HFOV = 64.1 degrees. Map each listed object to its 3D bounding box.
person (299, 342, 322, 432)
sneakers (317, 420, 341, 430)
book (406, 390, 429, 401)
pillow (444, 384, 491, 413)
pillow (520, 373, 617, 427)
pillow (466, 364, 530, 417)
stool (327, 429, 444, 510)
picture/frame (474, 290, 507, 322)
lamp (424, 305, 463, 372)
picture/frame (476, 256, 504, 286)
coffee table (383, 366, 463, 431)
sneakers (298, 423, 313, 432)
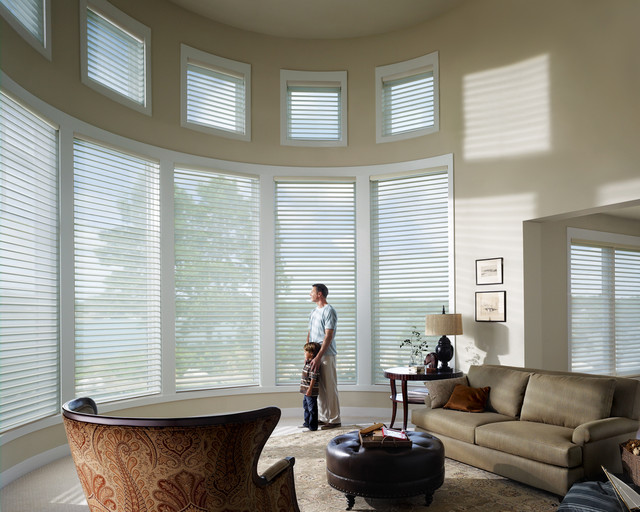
[{"bbox_3d":[-0.108,1.498,5.922,0.227,0.987,0.342,-1,-4,-5],"label":"person"},{"bbox_3d":[0.107,1.962,5.943,0.259,0.106,0.088,6,-10,-16],"label":"sneakers"},{"bbox_3d":[1.163,1.616,5.910,0.265,0.065,0.264,-2,-4,42],"label":"book"},{"bbox_3d":[1.454,1.406,5.023,0.267,0.084,0.277,-2,25,32],"label":"pillow"},{"bbox_3d":[2.165,1.294,4.564,0.275,0.475,0.749,23,-20,-32],"label":"pillow"},{"bbox_3d":[1.771,1.297,4.990,0.129,0.419,0.411,29,-25,-34],"label":"pillow"},{"bbox_3d":[0.502,1.633,3.899,0.906,0.514,0.478,-2,-5,-1],"label":"stool"},{"bbox_3d":[1.987,0.596,5.977,0.329,0.338,0.016,-4,-11,32],"label":"picture/frame"},{"bbox_3d":[1.412,0.942,5.802,0.571,0.675,0.589,-3,-5,11],"label":"lamp"},{"bbox_3d":[2.012,0.182,6.022,0.023,0.309,0.321,9,-10,-34],"label":"picture/frame"},{"bbox_3d":[1.000,1.635,5.744,0.532,0.440,0.567,25,-28,-31],"label":"coffee table"},{"bbox_3d":[-0.178,1.986,5.909,0.066,0.084,0.192,9,-16,-44],"label":"sneakers"}]
